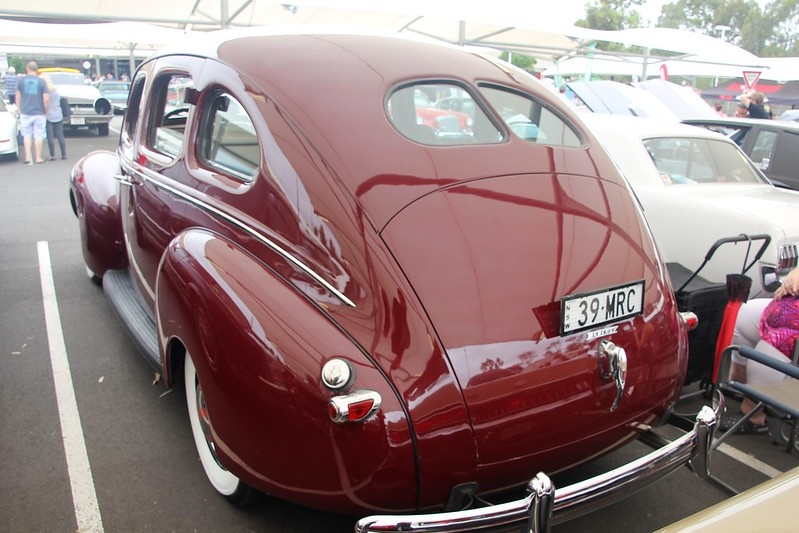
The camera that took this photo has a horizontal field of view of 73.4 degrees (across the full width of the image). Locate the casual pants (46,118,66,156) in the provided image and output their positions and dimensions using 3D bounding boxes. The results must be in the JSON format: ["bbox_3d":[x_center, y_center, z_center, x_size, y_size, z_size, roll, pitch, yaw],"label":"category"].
[{"bbox_3d":[-7.829,-3.065,12.168,0.343,1.231,0.289,-4,45,-30],"label":"casual pants"}]

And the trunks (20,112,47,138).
[{"bbox_3d":[-7.978,-3.083,11.659,0.505,0.516,0.286,-1,23,-19],"label":"trunks"}]

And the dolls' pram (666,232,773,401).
[{"bbox_3d":[2.254,0.226,4.230,0.584,0.936,0.903,-9,17,-35],"label":"dolls' pram"}]

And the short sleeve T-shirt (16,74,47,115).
[{"bbox_3d":[-7.944,-3.695,11.585,0.717,0.996,0.525,-6,20,-30],"label":"short sleeve T-shirt"}]

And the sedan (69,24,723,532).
[{"bbox_3d":[-0.678,-0.552,4.724,3.467,2.552,5.547,-8,25,-35],"label":"sedan"}]
